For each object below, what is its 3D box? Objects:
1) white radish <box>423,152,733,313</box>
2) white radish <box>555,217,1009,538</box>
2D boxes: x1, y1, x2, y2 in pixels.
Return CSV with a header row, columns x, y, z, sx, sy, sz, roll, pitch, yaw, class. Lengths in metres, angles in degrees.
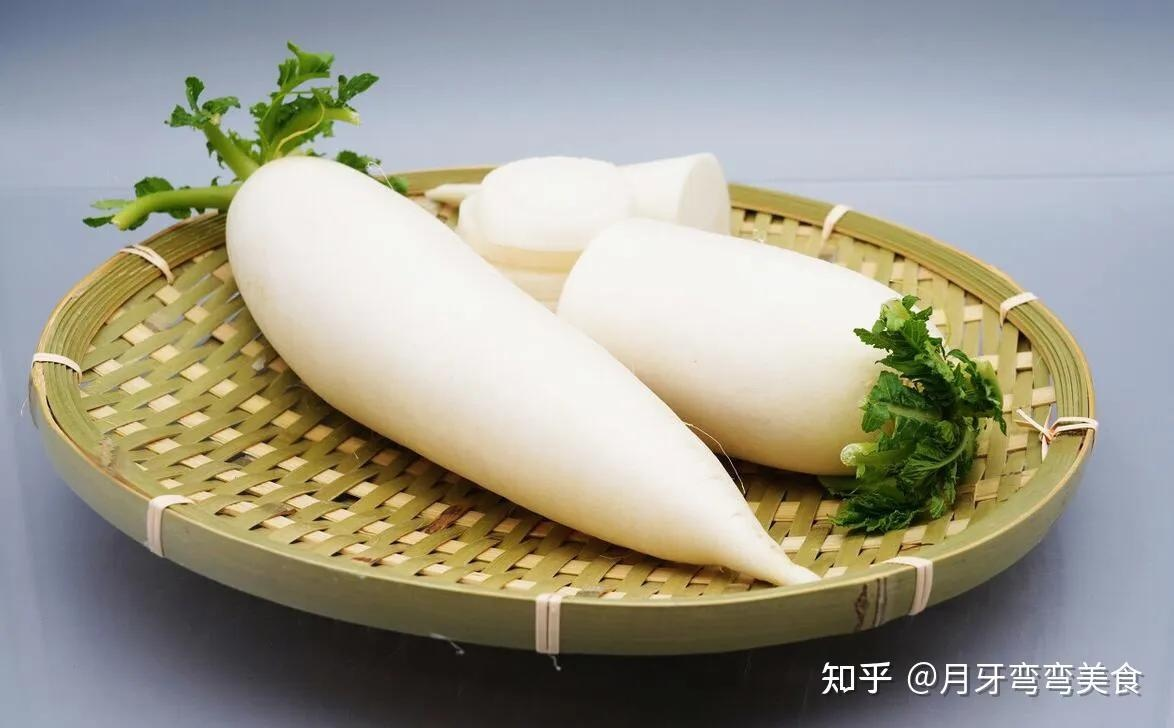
x,y,z,sx,sy,sz,roll,pitch,yaw,class
-0.024,-0.281,1.902,0.521,0.240,0.376,5,32,3,white radish
0.310,-0.017,1.766,0.738,0.374,0.352,27,23,14,white radish
